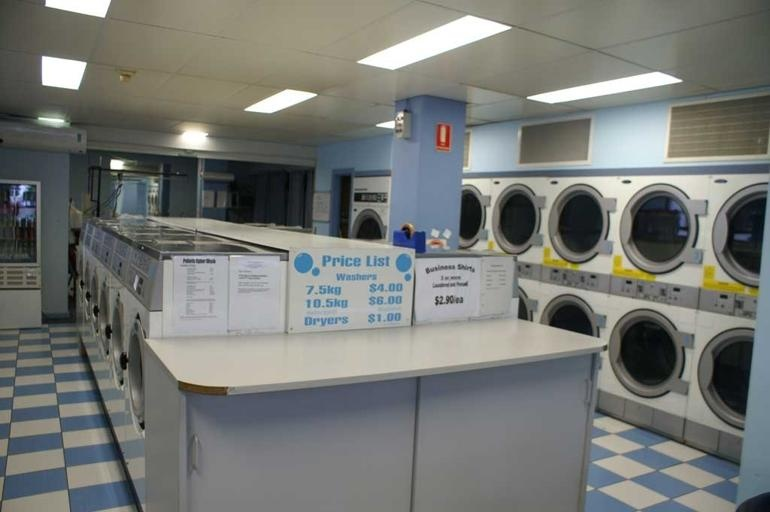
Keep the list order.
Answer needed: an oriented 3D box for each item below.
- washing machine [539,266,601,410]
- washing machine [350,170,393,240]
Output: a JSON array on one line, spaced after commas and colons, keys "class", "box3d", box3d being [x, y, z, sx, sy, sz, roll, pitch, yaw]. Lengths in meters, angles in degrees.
[{"class": "washing machine", "box3d": [2.292, 1.020, 5.978, 0.772, 1.500, 0.788, -2, 1, -35]}, {"class": "washing machine", "box3d": [-0.136, -0.730, 8.444, 0.680, 1.017, 0.548, 5, 8, 30]}]
